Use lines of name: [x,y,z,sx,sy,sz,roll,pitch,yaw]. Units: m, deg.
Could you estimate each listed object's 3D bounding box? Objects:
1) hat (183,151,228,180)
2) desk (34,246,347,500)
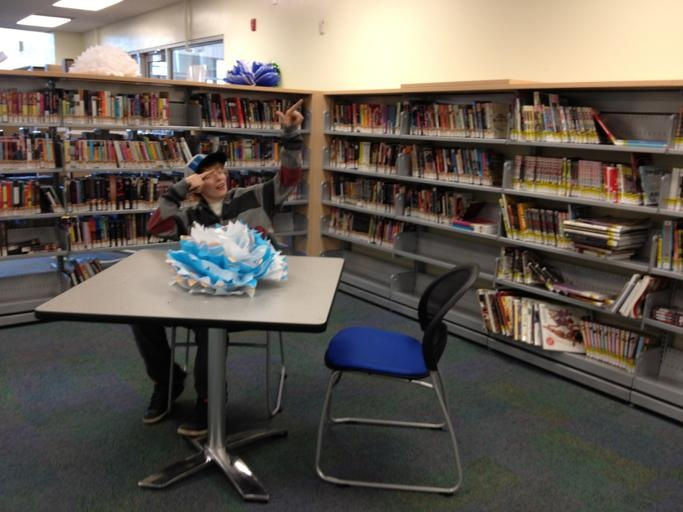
hat: [-0.759,-0.513,2.699,0.173,0.134,0.270,-11,18,-33]
desk: [-0.555,0.552,2.228,1.113,0.970,0.886,-1,16,0]
